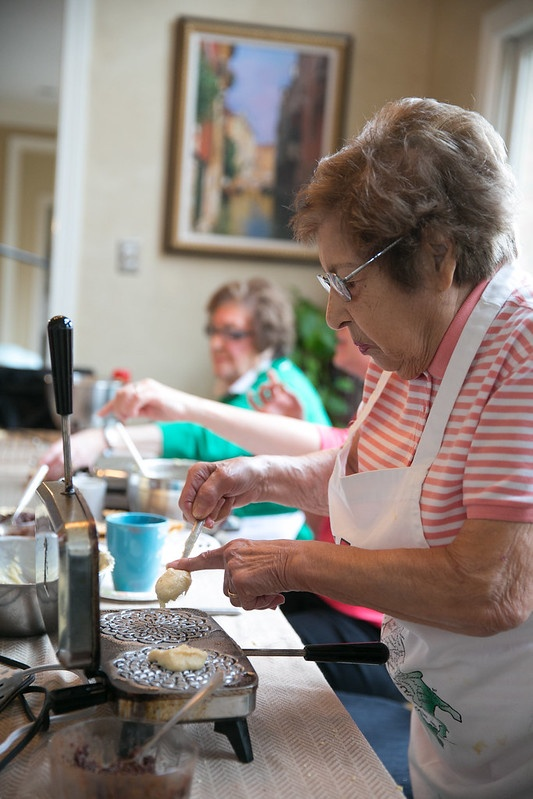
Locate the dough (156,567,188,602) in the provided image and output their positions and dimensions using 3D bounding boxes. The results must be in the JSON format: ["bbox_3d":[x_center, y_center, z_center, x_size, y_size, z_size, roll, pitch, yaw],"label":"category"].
[{"bbox_3d":[-0.122,0.244,0.981,0.038,0.018,0.047,-23,32,25],"label":"dough"}]

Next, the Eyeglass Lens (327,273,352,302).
[{"bbox_3d":[0.089,-0.138,0.911,0.037,0.011,0.031,5,31,-28],"label":"Eyeglass Lens"}]

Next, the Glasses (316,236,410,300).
[{"bbox_3d":[0.115,-0.151,0.879,0.075,0.021,0.069,-30,-1,-1],"label":"Glasses"}]

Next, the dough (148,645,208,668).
[{"bbox_3d":[-0.085,0.259,0.736,0.032,0.009,0.027,2,-4,7],"label":"dough"}]

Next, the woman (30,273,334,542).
[{"bbox_3d":[-0.283,0.163,2.135,0.833,1.072,0.529,6,11,-12],"label":"woman"}]

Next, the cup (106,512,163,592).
[{"bbox_3d":[-0.200,0.229,1.115,0.121,0.116,0.113,2,-9,0],"label":"cup"}]

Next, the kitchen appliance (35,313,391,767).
[{"bbox_3d":[0.030,0.111,0.862,0.546,0.481,0.302,-2,11,-10],"label":"kitchen appliance"}]
